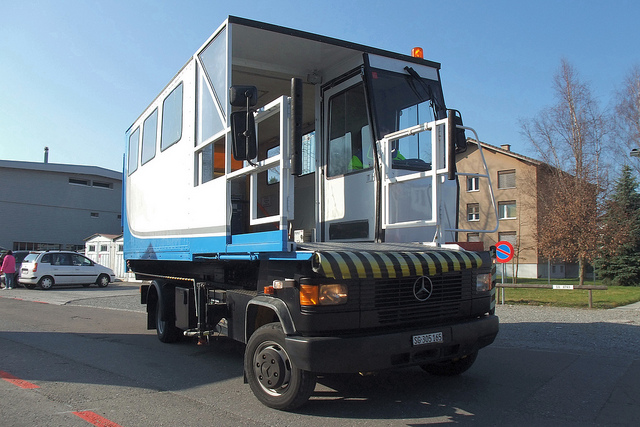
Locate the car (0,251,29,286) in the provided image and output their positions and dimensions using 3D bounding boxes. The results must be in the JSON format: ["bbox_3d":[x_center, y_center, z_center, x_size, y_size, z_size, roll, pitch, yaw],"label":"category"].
[{"bbox_3d":[-14.698,2.593,24.651,2.008,1.173,1.182,2,-1,35],"label":"car"}]

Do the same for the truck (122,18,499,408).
[{"bbox_3d":[-0.578,-0.193,8.562,6.320,5.856,3.396,-1,-1,38],"label":"truck"}]

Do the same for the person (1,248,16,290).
[{"bbox_3d":[-14.766,2.701,23.849,0.583,1.836,1.084,1,-1,-32],"label":"person"}]

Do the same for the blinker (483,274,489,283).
[{"bbox_3d":[2.480,0.978,7.567,0.027,0.111,0.113,6,-1,-16],"label":"blinker"}]

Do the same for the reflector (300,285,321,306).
[{"bbox_3d":[-0.138,1.068,6.596,0.239,0.248,0.248,2,-5,-15],"label":"reflector"}]

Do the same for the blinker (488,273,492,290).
[{"bbox_3d":[2.559,1.031,7.629,0.020,0.251,0.111,-1,-1,35],"label":"blinker"}]

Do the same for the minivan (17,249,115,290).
[{"bbox_3d":[-12.448,2.678,24.514,3.240,1.522,1.779,1,-4,-43],"label":"minivan"}]
